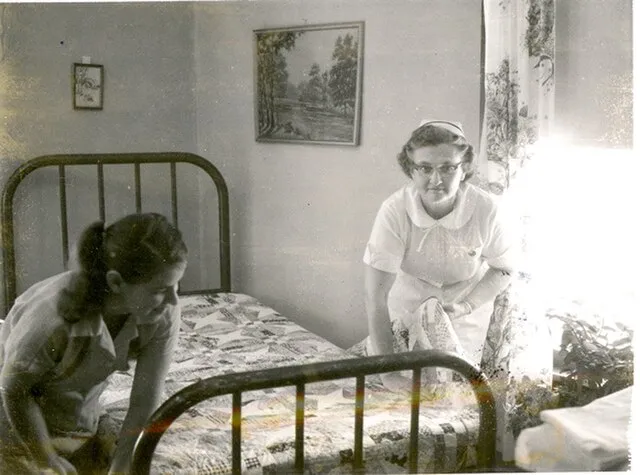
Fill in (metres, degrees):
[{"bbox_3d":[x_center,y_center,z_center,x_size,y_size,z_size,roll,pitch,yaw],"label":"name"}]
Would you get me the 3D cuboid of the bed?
[{"bbox_3d":[-0.335,0.134,1.677,0.790,0.691,1.039,-5,11,-30],"label":"bed"}]
